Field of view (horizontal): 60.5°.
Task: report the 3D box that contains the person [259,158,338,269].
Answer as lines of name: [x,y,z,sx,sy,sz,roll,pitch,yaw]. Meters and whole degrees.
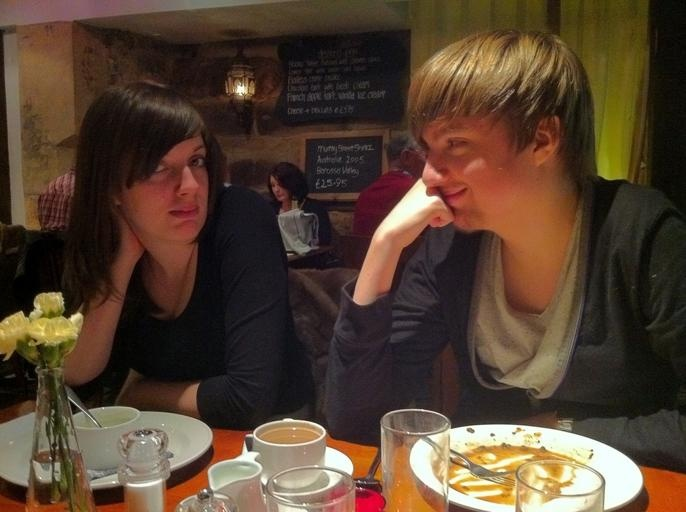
person: [-0.486,-0.332,5.442,0.790,0.939,0.709,-11,-6,32]

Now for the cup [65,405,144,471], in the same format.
cup: [-0.505,0.368,1.270,0.147,0.117,0.167,-1,-4,2]

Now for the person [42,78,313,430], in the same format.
person: [-0.541,0.024,1.878,0.630,0.939,0.682,-6,3,-6]

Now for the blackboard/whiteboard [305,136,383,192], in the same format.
blackboard/whiteboard: [0.030,-0.869,5.417,0.847,0.594,0.086,0,1,14]
